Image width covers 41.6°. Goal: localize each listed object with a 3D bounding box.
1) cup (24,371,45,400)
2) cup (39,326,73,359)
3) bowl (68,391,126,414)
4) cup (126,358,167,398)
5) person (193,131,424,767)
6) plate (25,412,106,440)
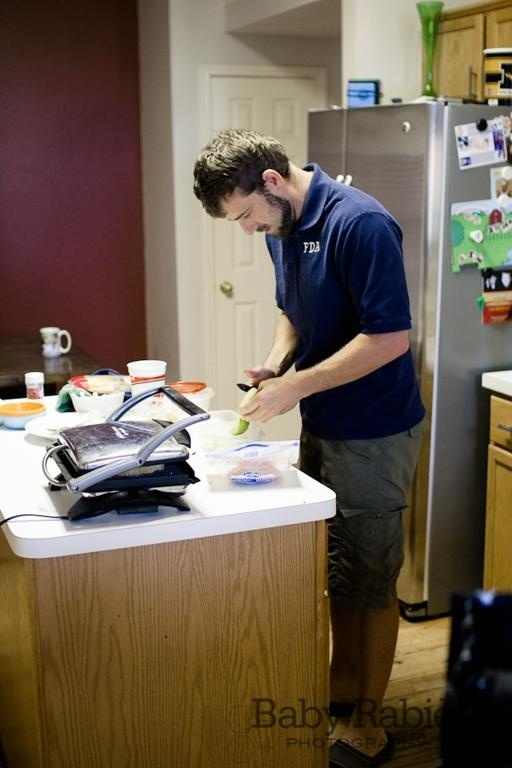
[{"bbox_3d":[-0.685,0.005,2.092,0.049,0.083,0.129,-5,11,-18],"label":"cup"},{"bbox_3d":[-1.021,-0.218,3.439,0.145,0.140,0.246,-5,11,-17],"label":"cup"},{"bbox_3d":[-0.420,0.051,1.798,0.139,0.056,0.116,-4,11,-13],"label":"bowl"},{"bbox_3d":[-0.297,-0.018,1.882,0.110,0.108,0.110,-1,0,0],"label":"cup"},{"bbox_3d":[0.165,0.205,1.771,0.523,1.647,0.587,1,11,14],"label":"person"},{"bbox_3d":[-0.489,0.096,1.686,0.124,0.020,0.121,3,13,12],"label":"plate"}]
